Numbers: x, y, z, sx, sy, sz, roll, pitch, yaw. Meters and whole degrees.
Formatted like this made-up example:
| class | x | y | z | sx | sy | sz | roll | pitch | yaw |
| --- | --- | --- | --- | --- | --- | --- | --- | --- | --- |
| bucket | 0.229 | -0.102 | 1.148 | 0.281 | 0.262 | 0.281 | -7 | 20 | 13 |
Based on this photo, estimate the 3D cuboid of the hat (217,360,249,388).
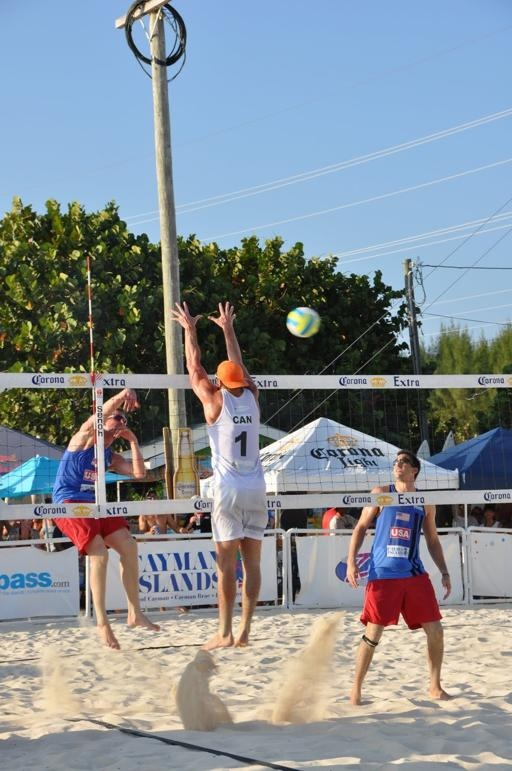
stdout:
| class | x | y | z | sx | sy | sz | roll | pitch | yaw |
| --- | --- | --- | --- | --- | --- | --- | --- | --- | --- |
| hat | -0.147 | -0.093 | 5.481 | 0.117 | 0.077 | 0.180 | -9 | 42 | -32 |

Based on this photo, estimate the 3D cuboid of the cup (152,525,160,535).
| class | x | y | z | sx | sy | sz | roll | pitch | yaw |
| --- | --- | --- | --- | --- | --- | --- | --- | --- | --- |
| cup | -1.013 | 1.454 | 9.878 | 0.085 | 0.080 | 0.142 | -2 | 37 | -3 |

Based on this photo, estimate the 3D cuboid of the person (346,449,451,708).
| class | x | y | z | sx | sy | sz | roll | pitch | yaw |
| --- | --- | --- | --- | --- | --- | --- | --- | --- | --- |
| person | 0.790 | 1.064 | 5.484 | 0.575 | 1.405 | 0.641 | -2 | -6 | 10 |

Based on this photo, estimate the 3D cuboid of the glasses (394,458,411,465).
| class | x | y | z | sx | sy | sz | roll | pitch | yaw |
| --- | --- | --- | --- | --- | --- | --- | --- | --- | --- |
| glasses | 0.859 | 0.441 | 5.696 | 0.083 | 0.027 | 0.087 | -3 | -20 | 19 |

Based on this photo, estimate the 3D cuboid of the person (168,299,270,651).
| class | x | y | z | sx | sy | sz | roll | pitch | yaw |
| --- | --- | --- | --- | --- | --- | --- | --- | --- | --- |
| person | -0.181 | 0.499 | 5.562 | 0.484 | 2.048 | 0.532 | -1 | -6 | -5 |

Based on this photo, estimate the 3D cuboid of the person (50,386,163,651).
| class | x | y | z | sx | sy | sz | roll | pitch | yaw |
| --- | --- | --- | --- | --- | --- | --- | --- | --- | --- |
| person | -1.006 | 0.860 | 6.444 | 0.661 | 1.718 | 1.073 | 0 | -6 | -9 |
